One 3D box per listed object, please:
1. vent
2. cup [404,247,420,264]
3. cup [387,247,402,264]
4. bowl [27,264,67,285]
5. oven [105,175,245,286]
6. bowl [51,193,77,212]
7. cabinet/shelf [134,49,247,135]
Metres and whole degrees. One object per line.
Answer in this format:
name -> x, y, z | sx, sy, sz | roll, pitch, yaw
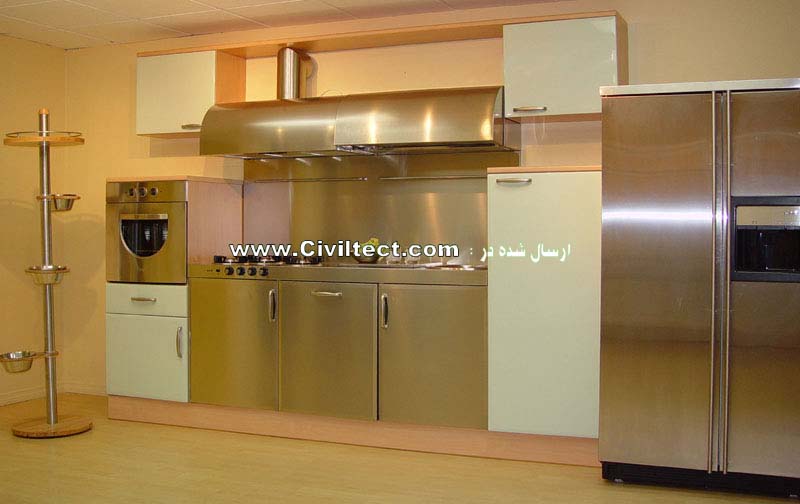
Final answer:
vent -> -0.428, -1.033, 5.441 | 2.440, 0.492, 0.274 | 2, 11, 14
cup -> 0.095, 0.027, 5.655 | 0.131, 0.123, 0.125 | 0, -4, 0
cup -> -0.055, 0.032, 5.735 | 0.129, 0.113, 0.123 | 1, -3, 0
bowl -> -2.870, 0.177, 5.520 | 0.224, 0.087, 0.218 | 1, 0, 0
oven -> -2.030, -0.162, 6.164 | 1.145, 0.910, 0.875 | 1, 0, 19
bowl -> -2.785, -0.411, 5.594 | 0.208, 0.099, 0.275 | 2, 2, 2
cabinet/shelf -> -1.897, -1.298, 6.271 | 1.295, 0.856, 0.656 | 0, 1, 20
